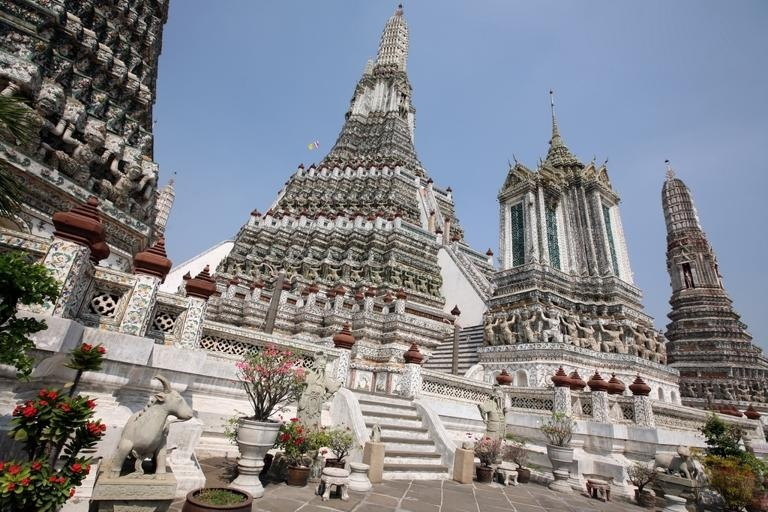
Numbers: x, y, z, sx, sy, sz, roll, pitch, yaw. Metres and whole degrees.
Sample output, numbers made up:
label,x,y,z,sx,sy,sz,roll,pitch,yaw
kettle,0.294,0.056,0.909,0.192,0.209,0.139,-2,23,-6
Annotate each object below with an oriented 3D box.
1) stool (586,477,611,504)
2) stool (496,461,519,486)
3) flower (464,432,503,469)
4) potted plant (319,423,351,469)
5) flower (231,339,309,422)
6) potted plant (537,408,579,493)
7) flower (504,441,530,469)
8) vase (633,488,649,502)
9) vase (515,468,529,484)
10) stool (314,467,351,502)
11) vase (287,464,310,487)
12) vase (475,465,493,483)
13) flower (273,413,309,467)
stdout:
label,x,y,z,sx,sy,sz,roll,pitch,yaw
stool,5.240,5.759,10.655,0.583,0.486,0.578,-13,-35,27
stool,3.124,5.475,10.882,0.678,0.463,0.630,3,-12,-2
flower,2.485,4.848,10.766,0.900,0.957,1.008,-21,-44,39
potted plant,-1.038,4.085,9.393,0.739,0.816,0.902,14,-37,-7
flower,-2.282,2.588,8.753,0.901,1.429,1.190,-4,-27,25
potted plant,4.643,5.143,11.546,0.781,1.949,1.163,-2,-27,23
flower,3.696,5.414,11.880,0.736,0.823,0.764,9,-27,1
vase,6.185,5.764,10.421,0.328,0.229,0.314,3,-29,1
vase,3.595,5.699,11.260,0.339,0.257,0.359,0,-34,1
stool,-0.942,4.297,8.254,0.594,0.464,0.569,12,-22,-7
vase,-1.676,4.313,8.551,0.427,0.296,0.400,2,-23,0
vase,2.397,5.219,10.367,0.351,0.232,0.339,-1,-21,8
flower,-1.830,3.705,8.636,0.706,0.936,0.754,-5,-39,19
